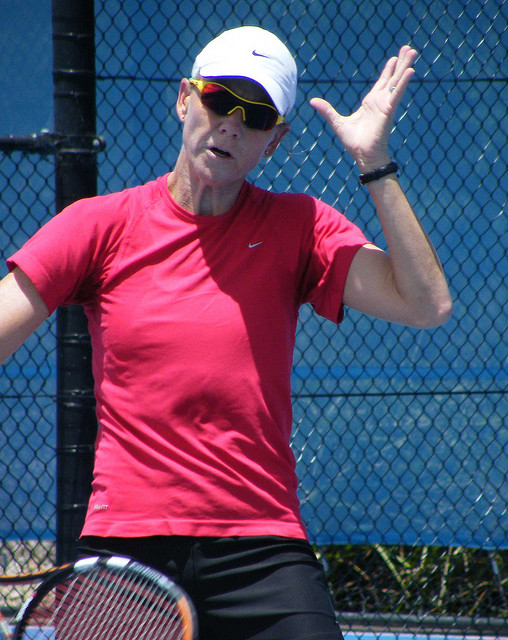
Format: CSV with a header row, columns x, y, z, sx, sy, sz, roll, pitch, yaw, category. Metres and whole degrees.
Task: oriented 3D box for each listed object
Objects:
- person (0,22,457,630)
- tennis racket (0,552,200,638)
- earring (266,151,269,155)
x,y,z,sx,sy,sz,roll,pitch,yaw,category
-0.083,0.010,2.696,1.034,1.645,0.790,-16,18,-41,person
-0.388,0.754,2.711,0.500,0.300,0.087,-1,18,19,tennis racket
0.035,-0.496,2.837,0.003,0.009,0.010,2,14,23,earring
